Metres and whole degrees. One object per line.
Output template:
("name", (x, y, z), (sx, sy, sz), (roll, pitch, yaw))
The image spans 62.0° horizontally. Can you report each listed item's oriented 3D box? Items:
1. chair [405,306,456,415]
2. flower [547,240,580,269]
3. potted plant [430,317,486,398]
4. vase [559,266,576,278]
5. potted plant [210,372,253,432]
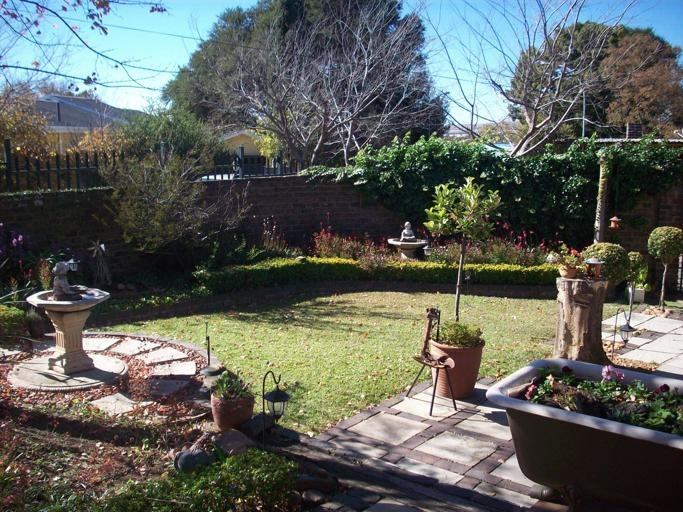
("chair", (1.253, 1.392, 7.557), (0.582, 1.372, 0.577), (4, 5, -15))
("flower", (5.131, -0.040, 13.174), (0.560, 0.424, 0.593), (12, 18, 37))
("potted plant", (1.463, 1.319, 7.730), (0.857, 1.164, 0.891), (4, 11, 24))
("vase", (3.359, 0.233, 8.410), (0.177, 0.149, 0.203), (2, 9, 14))
("potted plant", (-1.229, 1.637, 6.623), (0.576, 0.698, 0.542), (-1, 0, -9))
